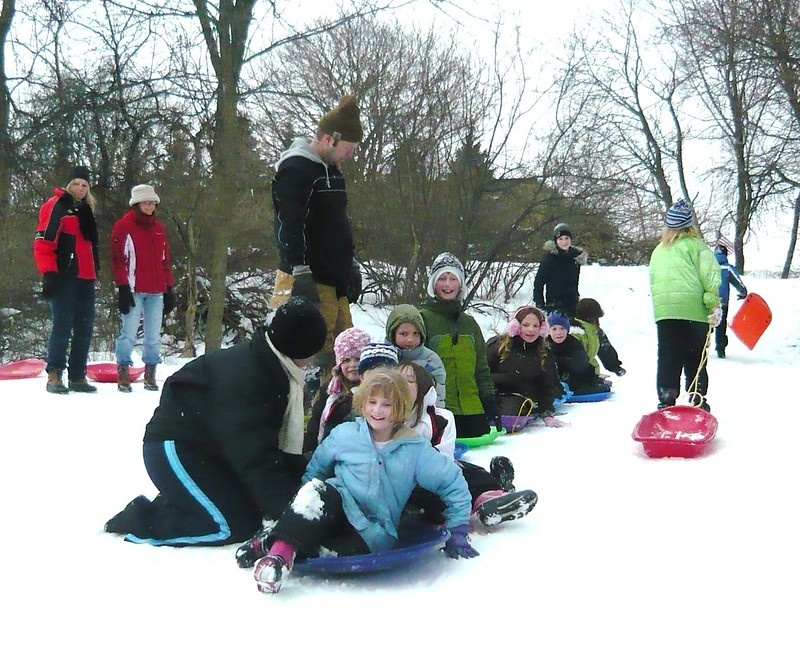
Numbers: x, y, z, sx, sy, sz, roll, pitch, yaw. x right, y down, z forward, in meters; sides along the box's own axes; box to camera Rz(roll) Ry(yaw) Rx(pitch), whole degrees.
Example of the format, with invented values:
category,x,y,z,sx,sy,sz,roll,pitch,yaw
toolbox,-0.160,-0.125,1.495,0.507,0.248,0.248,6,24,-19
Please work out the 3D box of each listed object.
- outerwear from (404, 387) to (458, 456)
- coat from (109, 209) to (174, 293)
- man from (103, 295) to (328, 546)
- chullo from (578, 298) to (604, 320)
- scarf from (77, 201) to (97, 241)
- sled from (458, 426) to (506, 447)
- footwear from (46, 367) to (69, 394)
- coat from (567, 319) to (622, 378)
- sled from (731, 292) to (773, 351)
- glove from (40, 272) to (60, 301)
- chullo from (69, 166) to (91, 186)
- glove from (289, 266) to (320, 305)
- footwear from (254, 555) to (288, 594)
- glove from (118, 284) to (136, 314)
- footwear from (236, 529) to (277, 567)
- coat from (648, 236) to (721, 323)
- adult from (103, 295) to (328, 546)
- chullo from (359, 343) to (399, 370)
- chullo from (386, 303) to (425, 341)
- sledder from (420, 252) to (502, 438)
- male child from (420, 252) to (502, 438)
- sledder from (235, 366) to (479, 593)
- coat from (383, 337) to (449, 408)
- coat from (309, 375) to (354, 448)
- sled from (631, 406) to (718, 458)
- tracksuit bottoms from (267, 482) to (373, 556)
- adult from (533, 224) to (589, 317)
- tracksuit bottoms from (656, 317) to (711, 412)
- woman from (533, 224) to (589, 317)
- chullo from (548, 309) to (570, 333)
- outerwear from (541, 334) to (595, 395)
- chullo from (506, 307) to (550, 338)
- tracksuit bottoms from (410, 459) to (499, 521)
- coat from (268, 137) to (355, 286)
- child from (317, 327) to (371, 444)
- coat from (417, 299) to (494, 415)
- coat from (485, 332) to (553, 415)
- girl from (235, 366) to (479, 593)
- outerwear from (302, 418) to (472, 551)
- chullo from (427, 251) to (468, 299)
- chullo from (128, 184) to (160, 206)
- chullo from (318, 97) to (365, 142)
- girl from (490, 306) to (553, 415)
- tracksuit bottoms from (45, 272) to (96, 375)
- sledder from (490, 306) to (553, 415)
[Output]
category,x,y,z,sx,sy,sz,roll,pitch,yaw
outerwear,0.148,0.459,4.593,0.270,0.413,0.226,-14,-25,21
coat,-2.051,-0.613,7.176,0.206,0.659,0.563,5,14,22
man,-0.889,0.445,4.386,0.952,1.190,0.735,4,-5,9
chullo,1.645,-0.169,7.905,0.148,0.184,0.215,3,-14,0
scarf,-2.352,-0.826,6.869,0.061,0.261,0.182,-9,0,19
sled,0.524,0.694,5.822,0.153,0.054,0.185,1,7,40
footwear,-2.492,0.377,6.621,0.154,0.196,0.347,-4,14,-20
coat,1.625,0.195,7.794,0.458,0.233,0.703,3,41,-3
sled,3.901,-0.011,10.159,0.602,0.152,0.466,-27,-21,1
glove,-2.534,-0.322,6.612,0.118,0.187,0.059,3,-5,-22
chullo,-2.400,-1.176,6.897,0.142,0.162,0.156,14,-14,-32
glove,-0.516,-0.224,5.090,0.207,0.242,0.070,11,-11,-35
footwear,-0.515,0.983,3.705,0.113,0.140,0.147,15,-14,2
glove,-2.117,-0.236,6.979,0.055,0.198,0.139,-1,23,33
footwear,-0.610,0.927,3.880,0.161,0.060,0.070,-43,27,-11
coat,1.987,-0.357,6.361,0.478,0.599,0.344,5,13,18
adult,-0.844,0.431,4.395,1.003,1.210,0.764,5,-2,15
chullo,-0.114,0.122,4.748,0.165,0.142,0.129,-3,8,-6
chullo,0.037,-0.060,5.548,0.196,0.225,0.218,-1,3,-5
sledder,0.390,0.328,6.049,0.486,1.594,0.442,-2,-13,-9
male child,0.390,0.331,6.048,0.496,1.592,0.388,-3,-12,-6
sledder,-0.187,0.613,4.046,1.061,0.960,0.848,0,-3,13
coat,0.091,0.199,5.395,0.493,0.527,0.318,-1,-6,-4
coat,-0.407,0.421,4.899,0.247,0.370,0.121,16,-4,-21
sled,1.686,0.621,5.601,0.486,0.160,0.669,6,14,20
tracksuit bottoms,-0.343,0.818,3.912,0.442,0.349,0.100,-8,14,-31
adult,1.653,-0.620,9.385,0.506,0.965,0.684,9,15,36
tracksuit bottoms,2.016,0.167,6.479,0.341,0.877,0.257,2,30,24
woman,1.635,-0.614,9.360,0.503,0.965,0.767,3,13,11
chullo,1.288,-0.086,7.403,0.146,0.179,0.217,0,8,14
outerwear,1.403,0.277,7.542,0.315,0.592,0.247,-20,9,-19
chullo,0.937,-0.077,6.678,0.308,0.234,0.213,1,13,3
tracksuit bottoms,0.313,0.845,4.695,0.419,0.345,0.178,17,37,-8
coat,-0.484,-0.650,5.260,0.478,0.890,0.378,-2,13,-12
child,-0.300,0.345,5.101,0.304,0.852,0.265,-2,23,-15
coat,0.345,0.189,6.101,0.521,0.845,0.293,0,-17,-14
coat,0.901,0.303,6.657,0.406,0.634,0.582,-1,-9,-2
girl,-0.172,0.617,4.059,1.054,0.941,0.832,1,-3,6
outerwear,-0.113,0.709,4.133,0.835,0.610,0.487,9,6,19
chullo,0.326,-0.383,6.323,0.254,0.365,0.354,1,-10,3
chullo,-2.024,-1.083,7.220,0.198,0.163,0.224,-3,13,-14
chullo,-0.323,-1.211,5.251,0.265,0.236,0.207,13,15,11
girl,0.885,0.246,6.599,0.562,0.887,0.684,3,2,19
tracksuit bottoms,-2.441,-0.036,6.833,0.311,0.954,0.266,2,-34,-16
sledder,0.881,0.253,6.740,0.539,0.877,0.679,-1,3,-2
